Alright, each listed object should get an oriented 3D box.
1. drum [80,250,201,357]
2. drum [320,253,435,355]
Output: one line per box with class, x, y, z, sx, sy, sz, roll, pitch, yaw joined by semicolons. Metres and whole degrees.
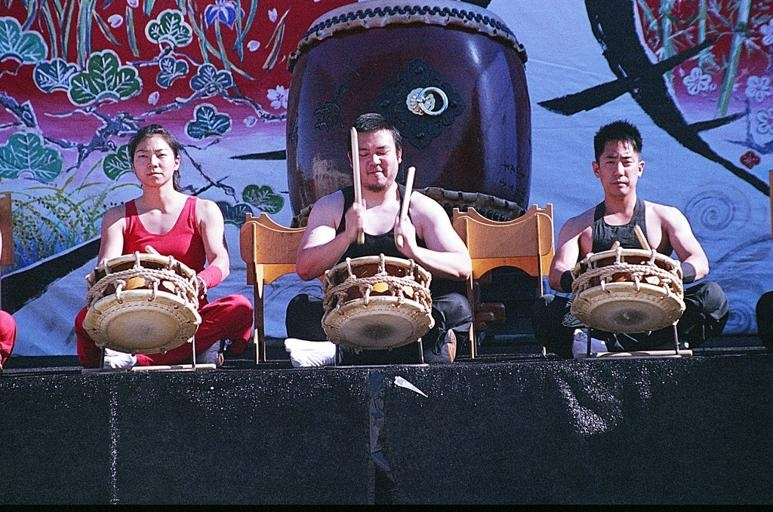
drum;-1.024;0.164;4.150;0.431;0.217;0.383;-8;-19;-6
drum;-0.039;0.225;4.192;0.490;0.213;0.427;-4;-37;7
